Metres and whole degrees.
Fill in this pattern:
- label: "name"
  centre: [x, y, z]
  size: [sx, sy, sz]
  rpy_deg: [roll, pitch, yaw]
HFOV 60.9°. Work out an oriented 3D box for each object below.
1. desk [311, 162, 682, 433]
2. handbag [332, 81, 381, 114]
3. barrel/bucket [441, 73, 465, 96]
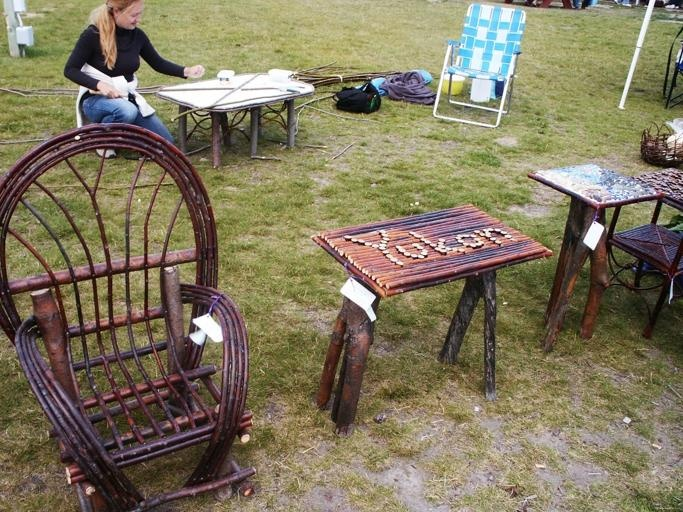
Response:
- label: "desk"
  centre: [0.879, 0.187, 3.822]
  size: [2.302, 1.250, 0.883]
  rpy_deg: [-13, 31, -30]
- label: "handbag"
  centre: [0.218, -2.158, 7.952]
  size: [0.572, 0.287, 0.404]
  rpy_deg: [11, 35, 10]
- label: "barrel/bucket"
  centre: [1.733, -2.646, 9.016]
  size: [0.450, 0.278, 0.481]
  rpy_deg: [-1, 25, 1]
